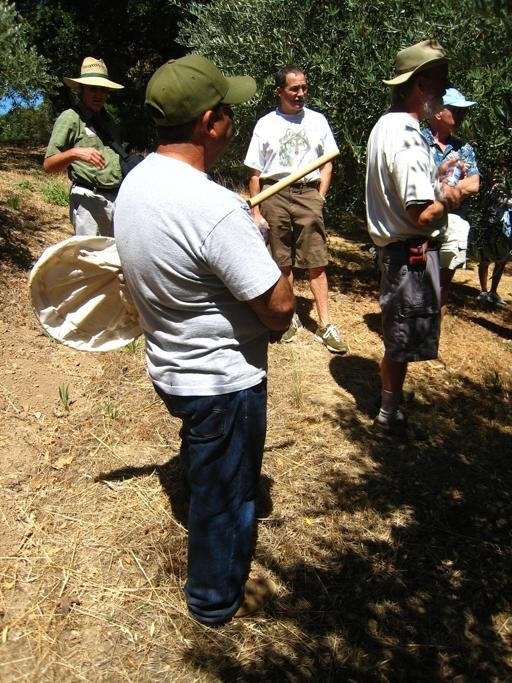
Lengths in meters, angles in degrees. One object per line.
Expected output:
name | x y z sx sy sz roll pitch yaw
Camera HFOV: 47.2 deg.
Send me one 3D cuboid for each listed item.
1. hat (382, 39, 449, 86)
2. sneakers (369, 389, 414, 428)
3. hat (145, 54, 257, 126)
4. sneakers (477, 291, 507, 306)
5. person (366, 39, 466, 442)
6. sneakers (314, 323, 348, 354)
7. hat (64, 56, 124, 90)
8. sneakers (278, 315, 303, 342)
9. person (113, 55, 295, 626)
hat | 0.839 -1.419 2.944 0.298 0.110 0.262 -31 23 -17
sneakers | 0.901 0.446 3.847 0.248 0.218 0.101 -25 50 -18
hat | -0.147 -0.807 1.932 0.362 0.172 0.215 -24 45 -9
sneakers | 2.745 -0.520 6.920 0.349 0.130 0.135 18 32 35
person | 0.837 -0.453 3.275 0.444 2.221 0.601 -1 26 -8
sneakers | 0.615 -0.026 4.975 0.148 0.146 0.345 -23 42 -32
hat | -1.265 -2.012 4.453 0.409 0.185 0.491 -8 18 -36
sneakers | 0.328 -0.118 5.181 0.148 0.146 0.373 3 20 16
person | -0.169 0.134 2.131 0.487 2.147 0.604 -12 30 -27
